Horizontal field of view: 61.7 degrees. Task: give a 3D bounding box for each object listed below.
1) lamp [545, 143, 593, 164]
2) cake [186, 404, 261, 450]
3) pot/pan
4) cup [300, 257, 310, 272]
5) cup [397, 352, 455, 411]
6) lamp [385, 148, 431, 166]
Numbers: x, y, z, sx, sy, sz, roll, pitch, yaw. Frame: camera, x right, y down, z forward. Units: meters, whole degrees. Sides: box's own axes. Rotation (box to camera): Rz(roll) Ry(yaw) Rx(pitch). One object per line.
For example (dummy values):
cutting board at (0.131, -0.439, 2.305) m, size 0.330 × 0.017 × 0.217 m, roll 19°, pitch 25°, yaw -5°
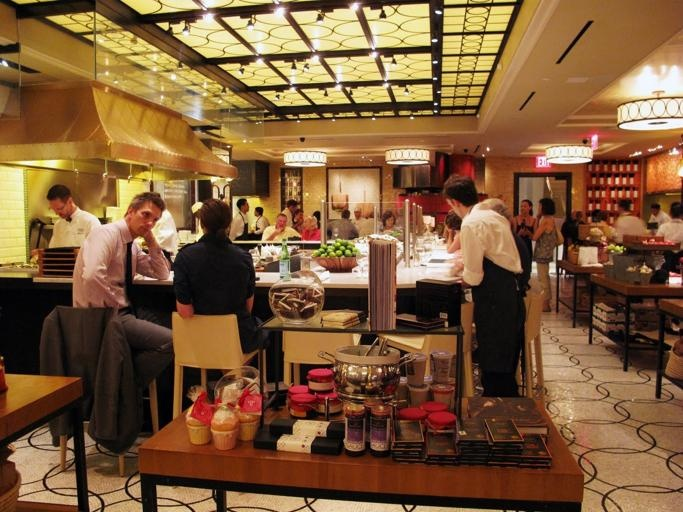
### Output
lamp at (4.593, -2.053, 11.546) m, size 0.849 × 0.336 × 0.367 m, roll 2°, pitch 10°, yaw 13°
cake at (-0.598, 0.870, 2.892) m, size 0.215 × 0.111 × 0.272 m, roll 1°, pitch -4°, yaw -2°
pot/pan at (0.133, 0.609, 2.957) m, size 0.525 × 0.221 × 0.348 m, roll 2°, pitch 1°, yaw 2°
cup at (-0.269, 0.063, 4.218) m, size 0.067 × 0.108 × 0.118 m, roll 2°, pitch 2°, yaw 13°
cup at (0.481, 0.661, 3.145) m, size 0.343 × 0.223 × 0.281 m, roll 1°, pitch 5°, yaw 5°
lamp at (1.486, -2.252, 12.925) m, size 0.912 × 0.349 × 0.309 m, roll 1°, pitch 10°, yaw 10°
